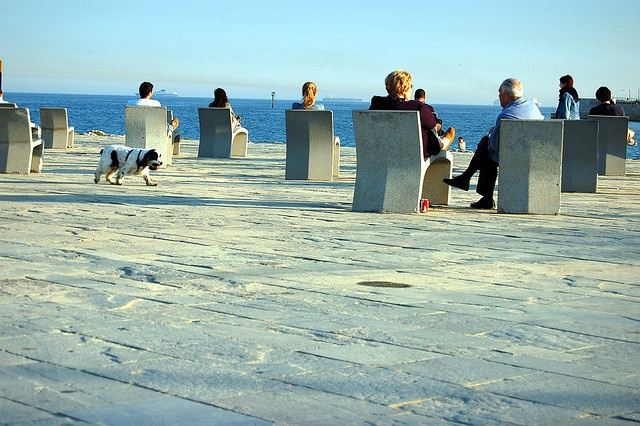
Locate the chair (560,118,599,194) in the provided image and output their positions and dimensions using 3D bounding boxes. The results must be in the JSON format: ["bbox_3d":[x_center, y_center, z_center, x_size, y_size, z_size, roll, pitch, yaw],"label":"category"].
[{"bbox_3d":[4.429,-0.927,11.800,0.827,1.149,0.839,3,5,28],"label":"chair"}]

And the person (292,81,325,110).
[{"bbox_3d":[-0.213,-2.079,12.807,0.523,0.521,1.263,1,12,-2],"label":"person"}]

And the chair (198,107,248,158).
[{"bbox_3d":[-2.535,-1.987,17.951,0.989,1.136,1.370,-4,6,8],"label":"chair"}]

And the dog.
[{"bbox_3d":[-2.952,-0.716,11.124,1.120,0.569,0.436,6,0,20],"label":"dog"}]

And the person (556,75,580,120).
[{"bbox_3d":[4.481,-2.089,13.032,0.400,0.797,1.305,5,13,18],"label":"person"}]

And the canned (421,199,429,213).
[{"bbox_3d":[1.299,-0.080,9.032,0.145,0.212,0.146,-1,1,10],"label":"canned"}]

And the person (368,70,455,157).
[{"bbox_3d":[1.164,-1.317,9.601,0.898,1.054,1.994,3,3,20],"label":"person"}]

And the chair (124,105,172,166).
[{"bbox_3d":[-3.447,-1.376,13.512,0.965,1.129,0.966,-1,1,40],"label":"chair"}]

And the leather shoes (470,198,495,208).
[{"bbox_3d":[2.177,-0.140,9.567,0.358,0.151,0.121,5,7,17],"label":"leather shoes"}]

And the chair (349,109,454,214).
[{"bbox_3d":[1.078,-0.655,9.319,0.913,1.181,1.396,4,6,29],"label":"chair"}]

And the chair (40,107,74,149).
[{"bbox_3d":[-7.096,-2.329,19.777,0.859,1.110,0.867,4,4,11],"label":"chair"}]

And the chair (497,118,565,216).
[{"bbox_3d":[2.798,-0.573,9.126,1.125,1.132,1.098,4,1,6],"label":"chair"}]

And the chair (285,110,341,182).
[{"bbox_3d":[0.042,-1.188,12.857,0.899,1.164,1.439,3,5,23],"label":"chair"}]
